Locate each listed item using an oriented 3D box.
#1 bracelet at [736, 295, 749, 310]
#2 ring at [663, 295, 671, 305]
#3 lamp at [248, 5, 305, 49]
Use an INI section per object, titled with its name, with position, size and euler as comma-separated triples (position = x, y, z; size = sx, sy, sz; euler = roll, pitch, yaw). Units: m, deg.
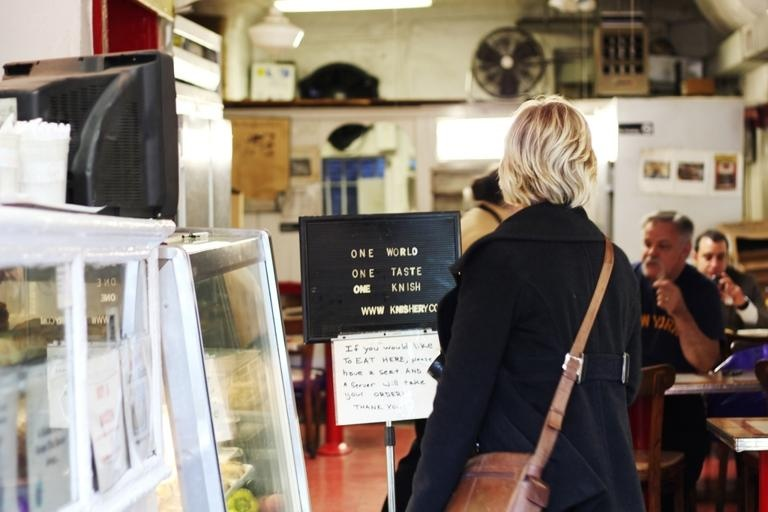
[bracelet]
position = 2.694, 0.354, 7.973
size = 0.087, 0.073, 0.084
euler = 0, 2, -39
[ring]
position = 2.145, 0.338, 8.032
size = 0.057, 0.067, 0.015
euler = 3, 2, 3
[lamp]
position = -0.918, -1.878, 8.846
size = 0.310, 0.276, 0.326
euler = 8, 11, 43
